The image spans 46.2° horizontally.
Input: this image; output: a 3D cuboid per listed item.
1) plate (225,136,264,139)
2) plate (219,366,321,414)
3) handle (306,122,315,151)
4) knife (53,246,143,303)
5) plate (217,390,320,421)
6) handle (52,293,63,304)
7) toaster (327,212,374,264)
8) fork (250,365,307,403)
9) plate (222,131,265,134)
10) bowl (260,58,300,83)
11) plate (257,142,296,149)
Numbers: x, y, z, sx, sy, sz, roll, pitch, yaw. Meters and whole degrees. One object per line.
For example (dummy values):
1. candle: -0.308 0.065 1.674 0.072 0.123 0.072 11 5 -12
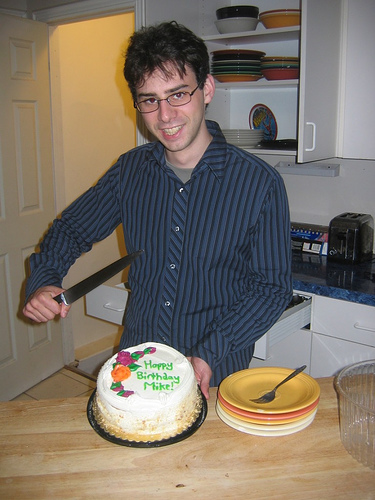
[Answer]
1. plate: 0.317 -0.611 2.358 0.235 0.016 0.052 -6 13 -21
2. plate: 0.181 0.313 0.974 0.209 0.026 0.206 -1 10 13
3. handle: 0.558 -0.519 1.991 0.020 0.126 0.086 9 17 38
4. knife: -0.186 0.035 1.271 0.054 0.034 0.466 42 35 14
5. plate: 0.159 0.325 0.907 0.207 0.029 0.076 2 13 14
6. handle: -0.317 0.118 1.078 0.017 0.024 0.007 -32 -29 4
7. toaster: 0.865 -0.068 2.288 0.265 0.238 0.156 -12 17 -39
8. fork: 0.206 0.307 0.994 0.155 0.022 0.025 -25 19 -37
9. plate: 0.311 -0.636 2.354 0.241 0.016 0.055 -5 13 -18
10. bowl: 0.467 -0.878 2.174 0.154 0.070 0.148 1 20 0
11. plate: 0.478 -0.550 2.290 0.125 0.026 0.073 -1 7 4
